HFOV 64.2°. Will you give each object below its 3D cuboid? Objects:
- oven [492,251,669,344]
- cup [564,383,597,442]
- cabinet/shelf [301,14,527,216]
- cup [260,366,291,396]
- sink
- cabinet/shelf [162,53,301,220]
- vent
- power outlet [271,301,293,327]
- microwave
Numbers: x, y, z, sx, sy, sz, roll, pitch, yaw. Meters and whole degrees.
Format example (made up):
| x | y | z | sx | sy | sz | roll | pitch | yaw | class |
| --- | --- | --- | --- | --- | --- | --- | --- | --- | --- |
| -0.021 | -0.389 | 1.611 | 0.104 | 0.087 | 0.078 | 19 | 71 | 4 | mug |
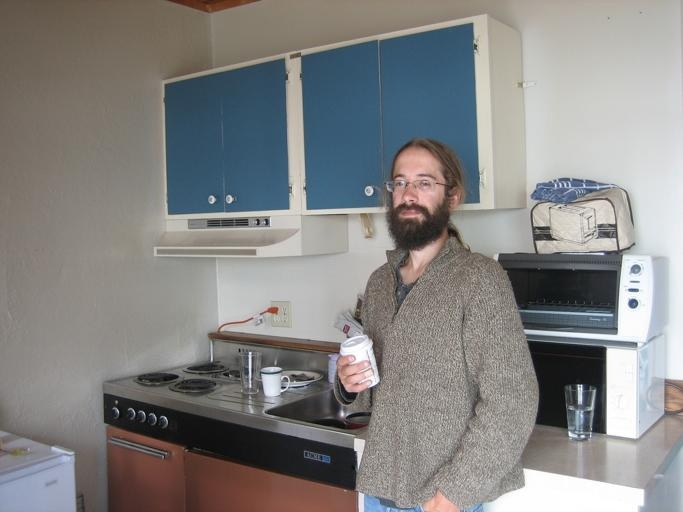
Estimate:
| x | y | z | sx | sy | sz | roll | pitch | yaw | class |
| --- | --- | --- | --- | --- | --- | --- | --- | --- | --- |
| 0.879 | 0.144 | 1.959 | 0.561 | 0.298 | 0.319 | 0 | -2 | 36 | oven |
| 0.822 | 0.548 | 1.898 | 0.117 | 0.182 | 0.117 | 2 | -4 | 0 | cup |
| 0.259 | -0.570 | 2.451 | 0.971 | 0.739 | 0.371 | 2 | 8 | 36 | cabinet/shelf |
| -0.302 | 0.593 | 2.543 | 0.103 | 0.115 | 0.158 | -10 | -11 | 37 | cup |
| -0.121 | 0.712 | 2.425 | 0.313 | 0.086 | 0.319 | 1 | 2 | 43 | sink |
| -0.537 | -0.564 | 2.708 | 0.903 | 0.803 | 0.361 | 0 | 1 | 30 | cabinet/shelf |
| -0.485 | -0.090 | 2.779 | 0.995 | 0.220 | 0.390 | -2 | 3 | 17 | vent |
| -0.326 | 0.322 | 3.011 | 0.128 | 0.134 | 0.034 | 4 | 2 | 30 | power outlet |
| 0.804 | 0.456 | 2.036 | 0.448 | 0.323 | 0.318 | 5 | 1 | -12 | microwave |
